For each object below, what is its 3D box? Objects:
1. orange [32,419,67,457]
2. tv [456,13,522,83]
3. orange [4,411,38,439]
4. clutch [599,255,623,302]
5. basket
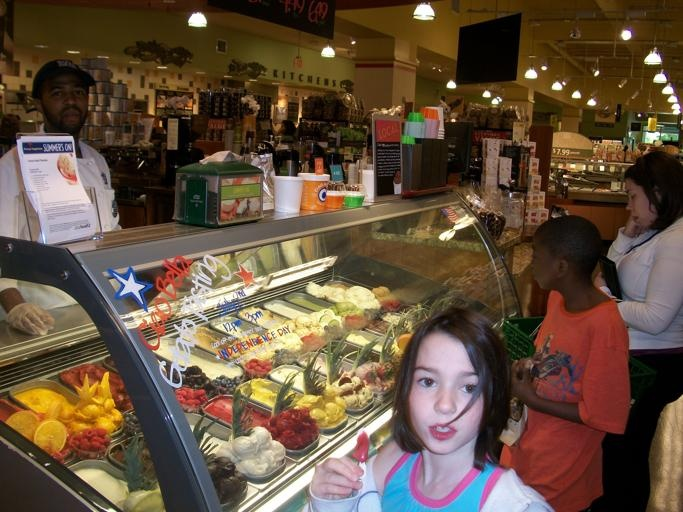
[{"bbox_3d":[-0.839,0.525,1.292,0.120,0.051,0.076,10,16,35],"label":"orange"},{"bbox_3d":[2.051,-2.864,6.275,0.082,0.806,1.054,-16,24,-33],"label":"tv"},{"bbox_3d":[-0.935,0.495,1.316,0.114,0.051,0.054,7,15,26],"label":"orange"},{"bbox_3d":[1.493,0.133,2.473,0.030,0.283,0.164,-21,28,0],"label":"clutch"},{"bbox_3d":[0.961,0.599,2.124,0.349,0.393,0.572,-7,-34,33],"label":"basket"}]
